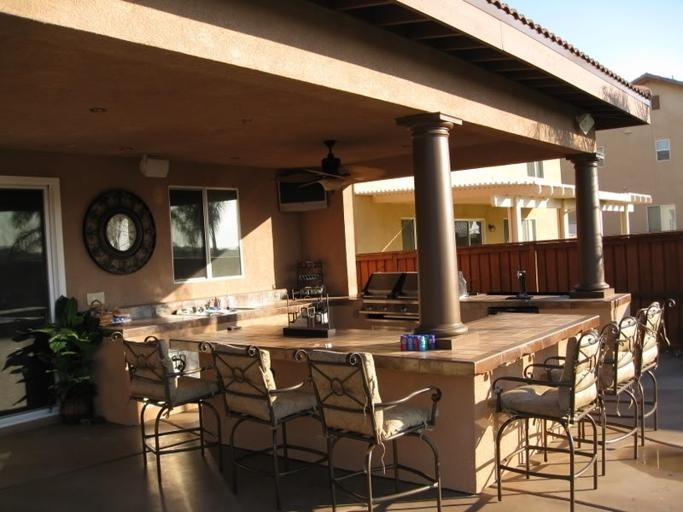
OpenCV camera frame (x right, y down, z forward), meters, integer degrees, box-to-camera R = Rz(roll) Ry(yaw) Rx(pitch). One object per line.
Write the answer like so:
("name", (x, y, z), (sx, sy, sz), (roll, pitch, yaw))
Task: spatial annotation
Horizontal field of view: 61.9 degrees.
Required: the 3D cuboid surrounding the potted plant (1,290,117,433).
("potted plant", (-3.343, 1.222, 6.692), (1.086, 1.626, 0.640), (-4, 1, -29))
